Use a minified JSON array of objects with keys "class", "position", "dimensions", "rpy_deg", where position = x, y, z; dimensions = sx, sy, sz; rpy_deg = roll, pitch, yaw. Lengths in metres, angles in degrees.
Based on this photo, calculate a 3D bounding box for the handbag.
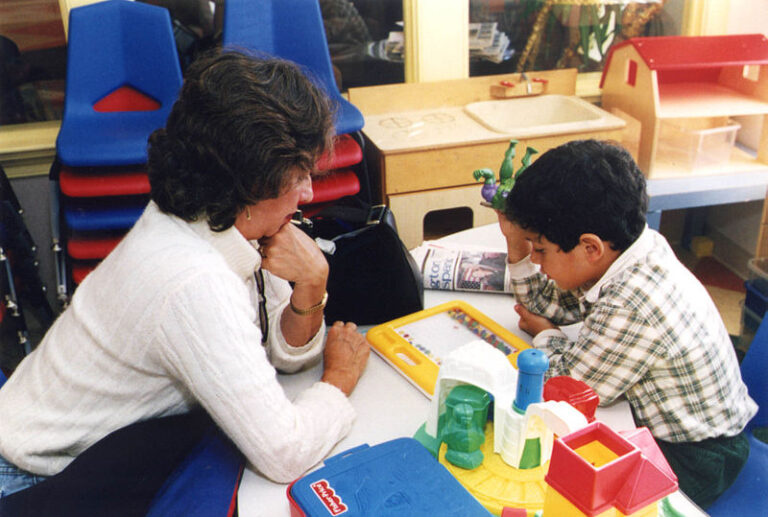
[{"class":"handbag","position":[-0.065,0.004,1.876],"dimensions":[0.348,0.334,0.348],"rpy_deg":[-20,18,-7]}]
